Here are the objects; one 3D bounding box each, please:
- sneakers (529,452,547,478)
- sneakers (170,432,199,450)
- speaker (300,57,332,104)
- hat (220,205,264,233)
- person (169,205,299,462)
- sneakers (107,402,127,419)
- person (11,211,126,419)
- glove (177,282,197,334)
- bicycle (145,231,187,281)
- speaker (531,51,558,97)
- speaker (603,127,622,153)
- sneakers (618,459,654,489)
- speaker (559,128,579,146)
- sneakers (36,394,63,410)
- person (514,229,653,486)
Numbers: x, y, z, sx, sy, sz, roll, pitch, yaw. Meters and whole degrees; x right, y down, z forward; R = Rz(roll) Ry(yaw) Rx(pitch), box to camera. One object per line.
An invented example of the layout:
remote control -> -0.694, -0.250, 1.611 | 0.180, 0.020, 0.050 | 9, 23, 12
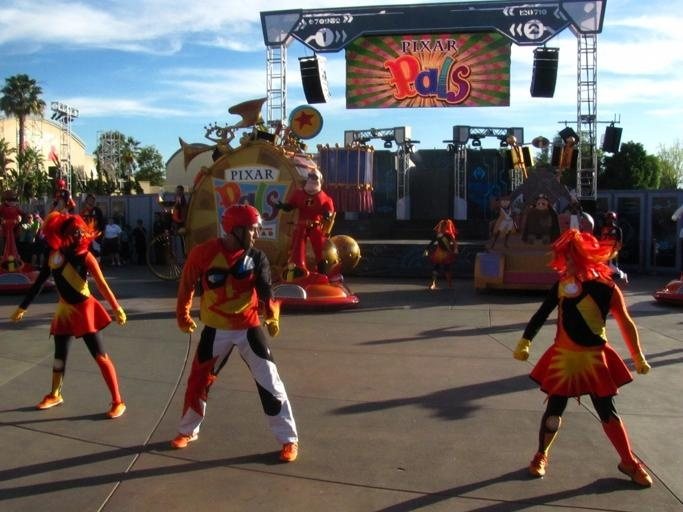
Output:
sneakers -> 1.613, 1.710, 5.117 | 0.084, 0.236, 0.170 | 5, 49, 9
sneakers -> -1.414, 1.652, 5.618 | 0.228, 0.117, 0.096 | 1, -4, -9
speaker -> -0.974, -6.190, 21.135 | 0.790, 1.342, 1.447 | -12, 27, 3
hat -> -0.883, -0.348, 5.485 | 0.278, 0.261, 0.218 | 10, 3, -8
person -> -0.924, 0.629, 5.505 | 1.124, 2.160, 0.421 | 2, 7, 12
sneakers -> -2.246, 1.531, 6.189 | 0.081, 0.088, 0.207 | -2, -4, 4
person -> -2.798, 0.540, 6.459 | 0.994, 1.972, 1.353 | -4, 8, -29
glove -> -1.365, 0.411, 5.500 | 0.155, 0.517, 0.122 | 1, -4, -30
bicycle -> -4.670, -0.024, 16.512 | 0.988, 1.109, 1.056 | 18, 5, 12
speaker -> 6.356, -5.805, 19.570 | 0.702, 1.529, 0.581 | 1, 7, 6
speaker -> 8.460, -3.704, 19.543 | 0.467, 0.858, 1.615 | 3, 8, 23
sneakers -> 2.337, 1.707, 5.018 | 0.144, 0.134, 0.280 | -33, 28, -25
speaker -> 6.710, -3.627, 18.446 | 0.593, 0.556, 3.004 | 3, 9, 19
sneakers -> -3.012, 1.492, 6.413 | 0.092, 0.120, 0.248 | -2, -3, 41
person -> 1.994, 0.780, 5.156 | 1.000, 1.983, 0.570 | 2, 7, 15
